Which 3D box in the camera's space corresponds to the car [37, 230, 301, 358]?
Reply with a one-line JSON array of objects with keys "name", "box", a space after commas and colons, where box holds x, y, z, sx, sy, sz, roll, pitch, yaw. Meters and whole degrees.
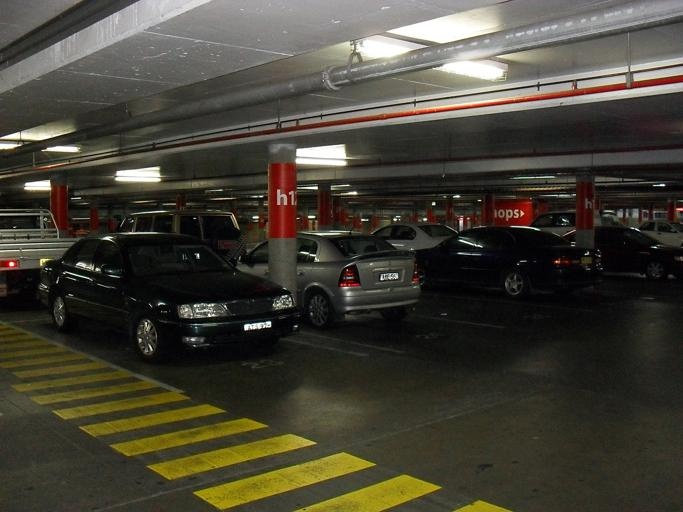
[{"name": "car", "box": [-3.517, 0.560, 9.421, 5.459, 1.996, 1.984, 3, 6, 41]}]

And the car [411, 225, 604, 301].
[{"name": "car", "box": [4.787, 0.132, 14.747, 4.459, 2.016, 1.161, 2, 6, 35]}]

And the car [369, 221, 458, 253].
[{"name": "car", "box": [2.309, -0.754, 18.126, 3.240, 0.729, 1.263, 5, 6, 35]}]

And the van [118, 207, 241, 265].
[{"name": "van", "box": [-4.208, -0.671, 15.137, 3.560, 1.184, 2.090, 5, 4, 37]}]
